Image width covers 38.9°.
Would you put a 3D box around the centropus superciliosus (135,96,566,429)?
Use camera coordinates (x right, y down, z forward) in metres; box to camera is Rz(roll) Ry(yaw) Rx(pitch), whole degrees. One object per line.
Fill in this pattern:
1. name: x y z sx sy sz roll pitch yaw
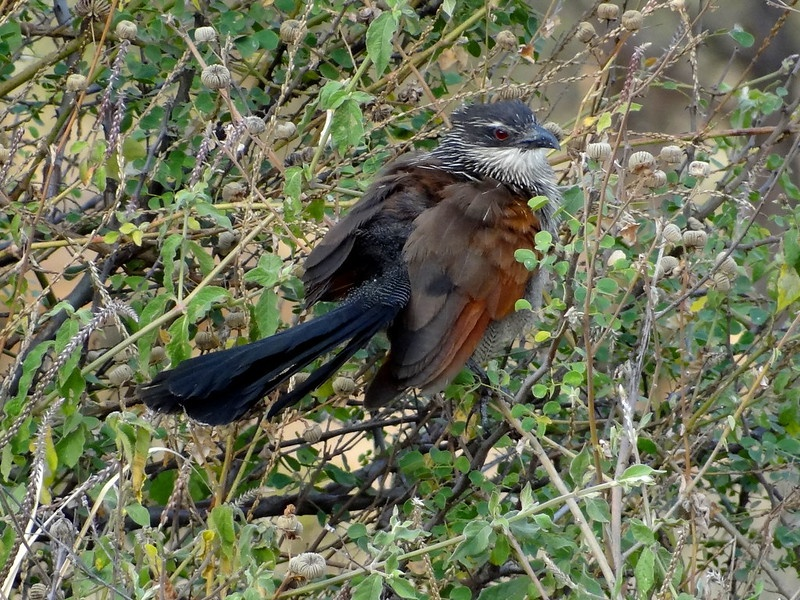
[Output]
1. centropus superciliosus: -0.070 -0.120 4.125 0.673 0.933 1.949 22 27 33
